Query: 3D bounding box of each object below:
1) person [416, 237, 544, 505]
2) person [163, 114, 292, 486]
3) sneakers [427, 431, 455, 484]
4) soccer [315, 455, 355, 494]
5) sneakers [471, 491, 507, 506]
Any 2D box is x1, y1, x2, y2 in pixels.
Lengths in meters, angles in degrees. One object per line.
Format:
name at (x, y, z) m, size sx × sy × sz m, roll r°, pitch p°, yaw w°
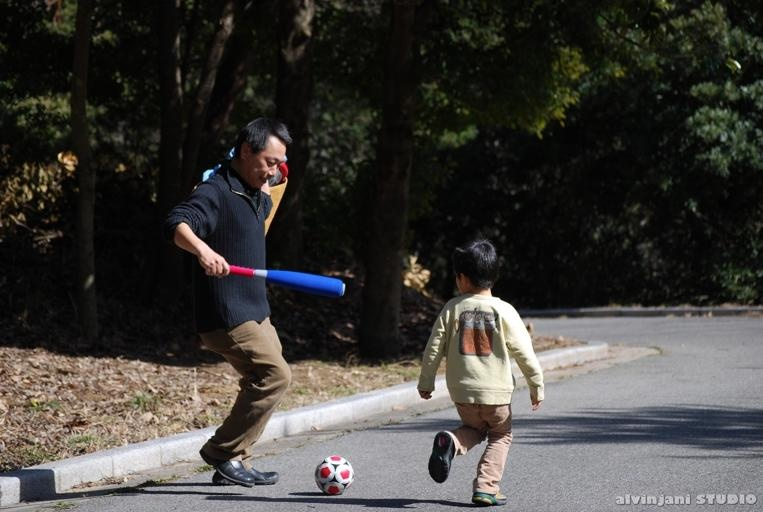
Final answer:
person at (1.121, 1.348, 12.383) m, size 1.372 × 2.949 × 0.771 m, roll 2°, pitch 10°, yaw 2°
person at (-1.724, 0.575, 12.610) m, size 1.274 × 4.332 × 0.919 m, roll 0°, pitch 10°, yaw -9°
sneakers at (0.700, 2.280, 12.357) m, size 0.255 × 0.623 × 0.275 m, roll 4°, pitch -7°, yaw 23°
soccer at (-0.561, 2.594, 12.794) m, size 0.478 × 0.400 × 0.353 m, roll 1°, pitch 10°, yaw -4°
sneakers at (1.225, 2.762, 12.315) m, size 0.420 × 0.215 × 0.160 m, roll 3°, pitch -1°, yaw -31°
